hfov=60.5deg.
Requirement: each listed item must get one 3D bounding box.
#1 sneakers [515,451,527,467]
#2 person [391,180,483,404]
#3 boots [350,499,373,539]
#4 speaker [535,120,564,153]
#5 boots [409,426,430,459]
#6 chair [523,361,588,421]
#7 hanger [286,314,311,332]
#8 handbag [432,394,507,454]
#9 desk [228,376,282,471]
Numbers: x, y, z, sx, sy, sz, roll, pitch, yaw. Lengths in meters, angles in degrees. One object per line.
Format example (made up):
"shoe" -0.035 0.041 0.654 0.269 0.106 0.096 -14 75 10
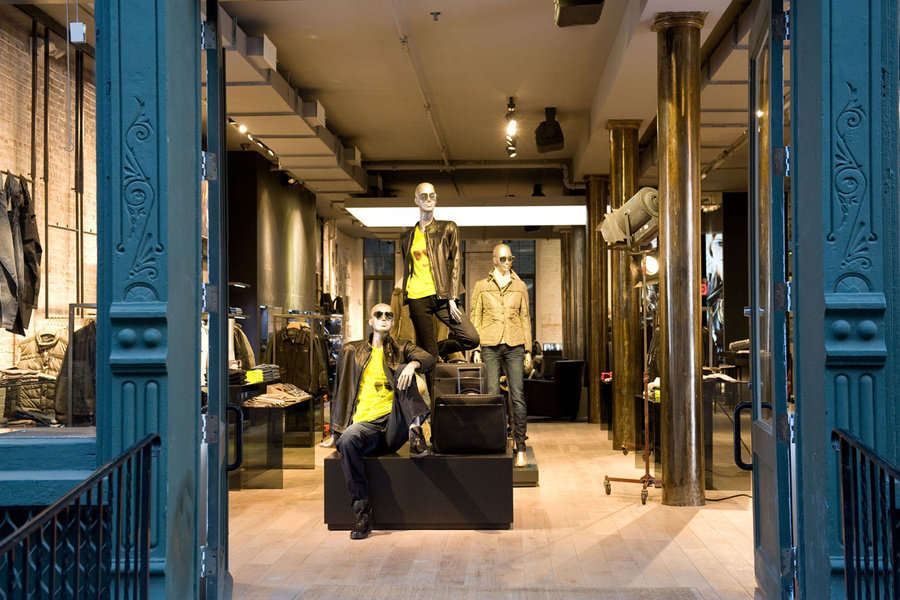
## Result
"sneakers" 0.642 1.463 7.162 0.106 0.189 0.119 0 1 -1
"person" -0.148 -0.078 6.787 0.729 1.831 0.484 3 16 18
"boots" -0.657 1.567 5.585 0.136 0.286 0.165 0 0 0
"speaker" 1.228 -2.029 9.594 0.348 0.374 0.369 1 10 11
"boots" -0.232 1.038 5.771 0.164 0.234 0.126 -1 0 -13
"chair" 1.554 1.332 11.383 0.964 0.979 0.746 0 -4 -1
"hanger" -2.195 0.323 11.027 0.330 0.143 0.462 1 -3 -2
"handbag" 0.151 0.991 6.056 0.611 0.523 0.494 0 -17 -2
"desk" -2.009 1.284 7.598 0.264 0.740 0.814 24 -23 -22
